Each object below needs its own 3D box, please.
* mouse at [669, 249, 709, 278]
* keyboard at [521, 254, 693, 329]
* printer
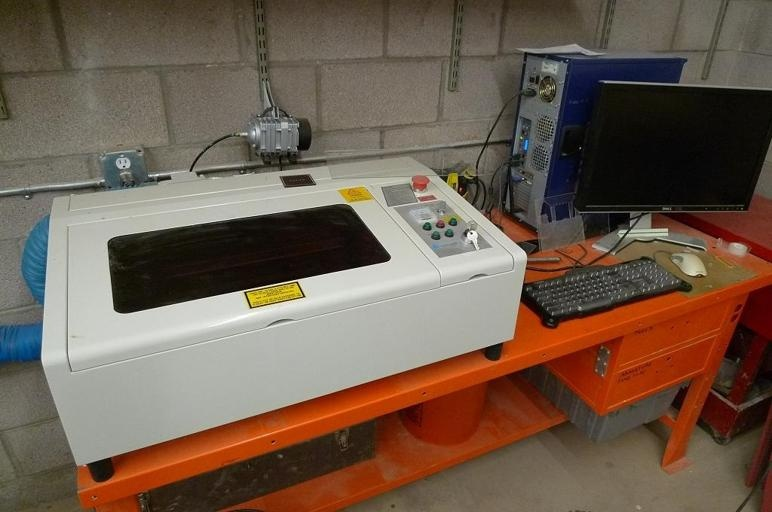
[{"bbox_3d":[1.231,0.036,2.064,0.085,0.039,0.122,-3,35,-4],"label":"mouse"},{"bbox_3d":[0.833,0.120,2.000,0.641,0.085,0.291,-13,28,-16],"label":"keyboard"},{"bbox_3d":[-0.323,0.082,1.627,1.295,0.525,0.596,-11,29,-15],"label":"printer"}]
